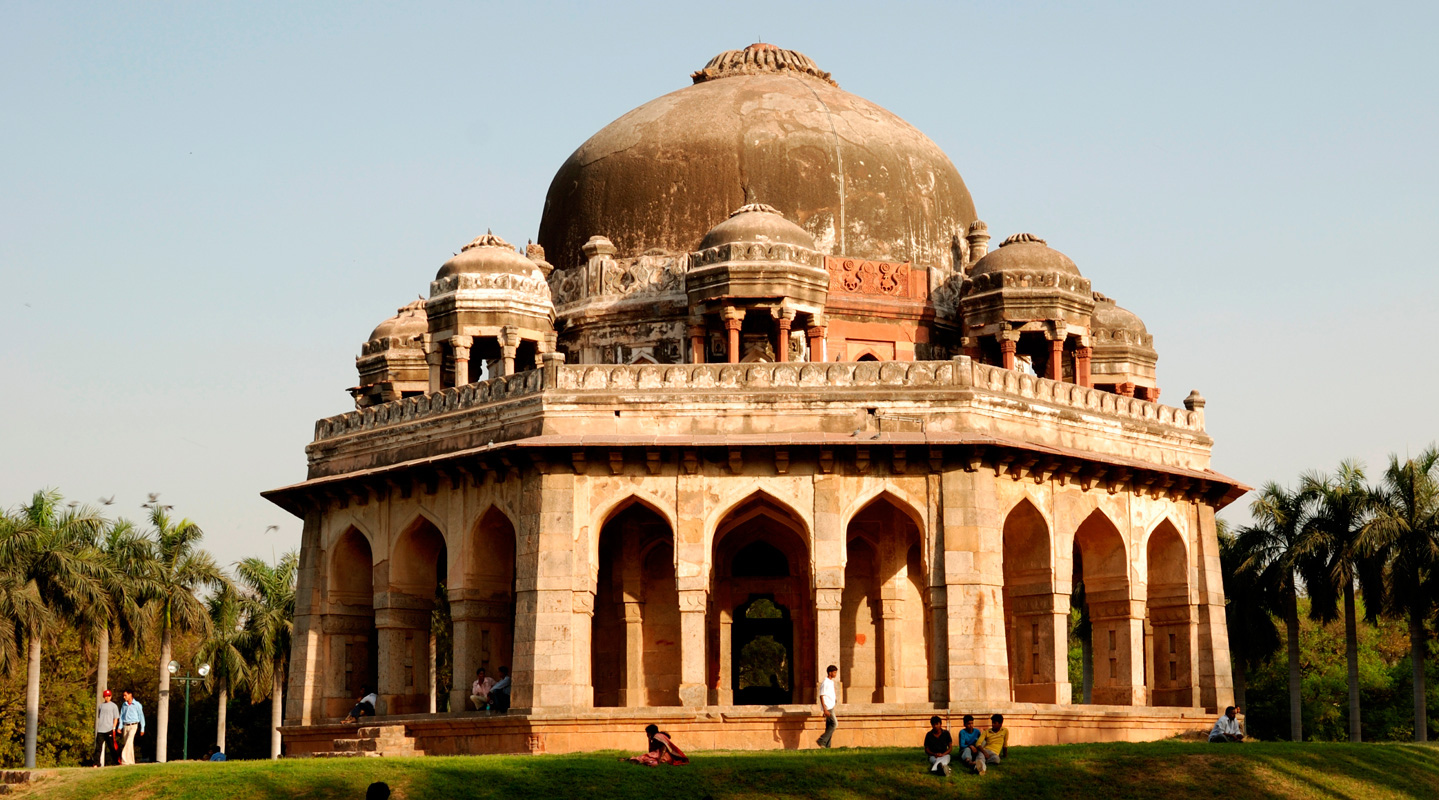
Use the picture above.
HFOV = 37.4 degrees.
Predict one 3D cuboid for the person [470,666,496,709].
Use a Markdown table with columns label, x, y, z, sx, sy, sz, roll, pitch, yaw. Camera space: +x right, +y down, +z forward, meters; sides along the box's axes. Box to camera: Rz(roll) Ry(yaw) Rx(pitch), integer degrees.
| label | x | y | z | sx | sy | sz | roll | pitch | yaw |
| --- | --- | --- | --- | --- | --- | --- | --- | --- | --- |
| person | -6.661 | 7.973 | 58.567 | 0.875 | 1.267 | 0.744 | -2 | -34 | -5 |

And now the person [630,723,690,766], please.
| label | x | y | z | sx | sy | sz | roll | pitch | yaw |
| --- | --- | --- | --- | --- | --- | --- | --- | --- | --- |
| person | -1.493 | 8.380 | 51.611 | 1.138 | 1.081 | 1.076 | 9 | -20 | -28 |

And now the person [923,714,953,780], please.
| label | x | y | z | sx | sy | sz | roll | pitch | yaw |
| --- | --- | --- | --- | --- | --- | --- | --- | --- | --- |
| person | 5.273 | 8.357 | 51.108 | 0.850 | 1.300 | 1.376 | -4 | -2 | 3 |

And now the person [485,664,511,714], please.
| label | x | y | z | sx | sy | sz | roll | pitch | yaw |
| --- | --- | --- | --- | --- | --- | --- | --- | --- | --- |
| person | -6.206 | 7.994 | 58.372 | 0.827 | 1.398 | 0.622 | 0 | -24 | 17 |

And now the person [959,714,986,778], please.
| label | x | y | z | sx | sy | sz | roll | pitch | yaw |
| --- | --- | --- | --- | --- | --- | --- | --- | --- | --- |
| person | 6.109 | 8.498 | 51.788 | 0.700 | 1.541 | 1.108 | 2 | -55 | 1 |

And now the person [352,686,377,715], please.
| label | x | y | z | sx | sy | sz | roll | pitch | yaw |
| --- | --- | --- | --- | --- | --- | --- | --- | --- | --- |
| person | -10.137 | 8.692 | 61.197 | 0.662 | 0.811 | 0.337 | -9 | -13 | 33 |
